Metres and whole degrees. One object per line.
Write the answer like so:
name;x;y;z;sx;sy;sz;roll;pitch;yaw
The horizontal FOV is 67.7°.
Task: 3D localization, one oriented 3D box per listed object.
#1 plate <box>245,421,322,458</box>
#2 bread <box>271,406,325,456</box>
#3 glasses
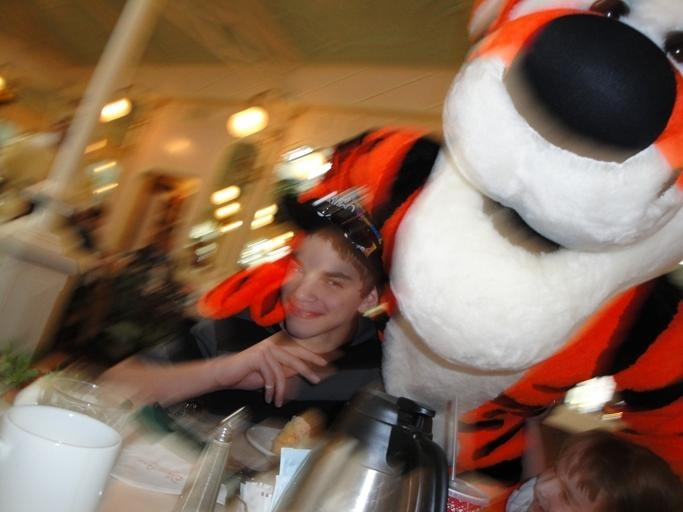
plate;-0.090;0.315;0.897;0.138;0.031;0.099;10;0;-9
bread;-0.069;0.307;0.901;0.053;0.031;0.102;4;7;25
glasses;0.027;-0.056;0.887;0.102;0.040;0.119;65;-19;-9
